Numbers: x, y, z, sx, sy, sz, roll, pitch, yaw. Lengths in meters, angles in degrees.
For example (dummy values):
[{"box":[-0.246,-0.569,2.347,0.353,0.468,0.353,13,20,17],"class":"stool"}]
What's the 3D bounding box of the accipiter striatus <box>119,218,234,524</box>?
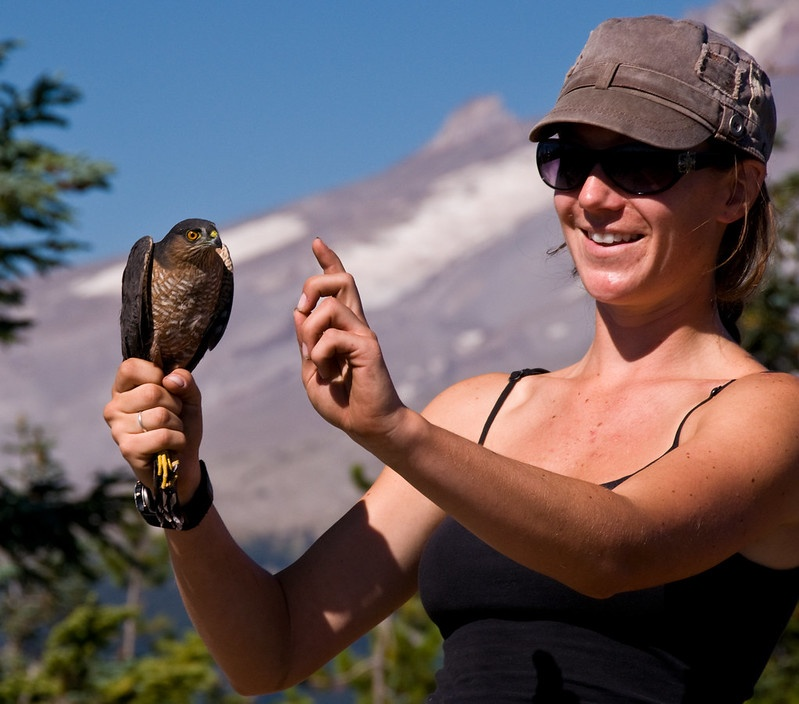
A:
[{"box":[-0.840,0.038,5.744,0.508,0.986,0.338,1,3,12],"class":"accipiter striatus"}]
